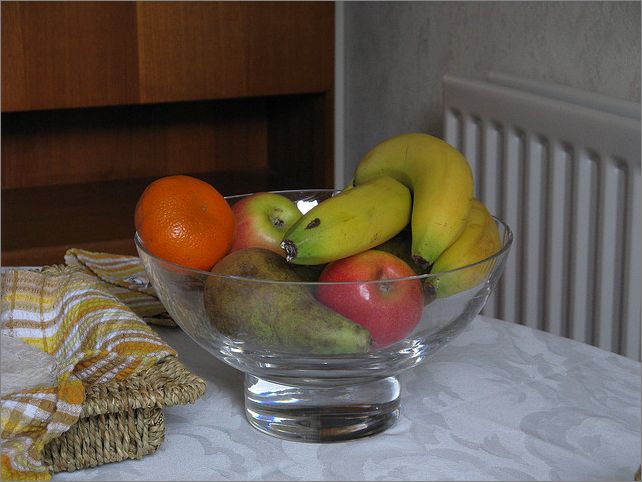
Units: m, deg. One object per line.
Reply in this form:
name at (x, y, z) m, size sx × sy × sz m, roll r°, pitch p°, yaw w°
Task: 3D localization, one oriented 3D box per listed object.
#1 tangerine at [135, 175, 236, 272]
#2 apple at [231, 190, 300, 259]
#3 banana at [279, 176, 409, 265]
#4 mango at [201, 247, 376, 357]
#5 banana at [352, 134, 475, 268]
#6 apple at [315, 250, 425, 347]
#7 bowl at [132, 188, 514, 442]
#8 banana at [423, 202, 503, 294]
tangerine at (-0.127, -0.019, 0.609) m, size 0.087 × 0.047 × 0.088 m, roll 17°, pitch 38°, yaw -31°
apple at (-0.058, -0.020, 0.652) m, size 0.060 × 0.058 × 0.078 m, roll -11°, pitch 22°, yaw -33°
banana at (0.030, -0.013, 0.623) m, size 0.127 × 0.044 × 0.054 m, roll -20°, pitch 53°, yaw -18°
mango at (-0.025, 0.050, 0.556) m, size 0.139 × 0.070 × 0.077 m, roll 0°, pitch 22°, yaw 5°
banana at (0.080, -0.033, 0.659) m, size 0.142 × 0.120 × 0.122 m, roll -4°, pitch 20°, yaw -5°
apple at (0.048, 0.046, 0.584) m, size 0.077 × 0.067 × 0.105 m, roll -10°, pitch 20°, yaw -36°
bowl at (-0.012, 0.042, 0.641) m, size 0.304 × 0.198 × 0.198 m, roll -5°, pitch 21°, yaw -13°
banana at (0.123, 0.016, 0.593) m, size 0.080 × 0.081 × 0.066 m, roll 7°, pitch 17°, yaw 4°
